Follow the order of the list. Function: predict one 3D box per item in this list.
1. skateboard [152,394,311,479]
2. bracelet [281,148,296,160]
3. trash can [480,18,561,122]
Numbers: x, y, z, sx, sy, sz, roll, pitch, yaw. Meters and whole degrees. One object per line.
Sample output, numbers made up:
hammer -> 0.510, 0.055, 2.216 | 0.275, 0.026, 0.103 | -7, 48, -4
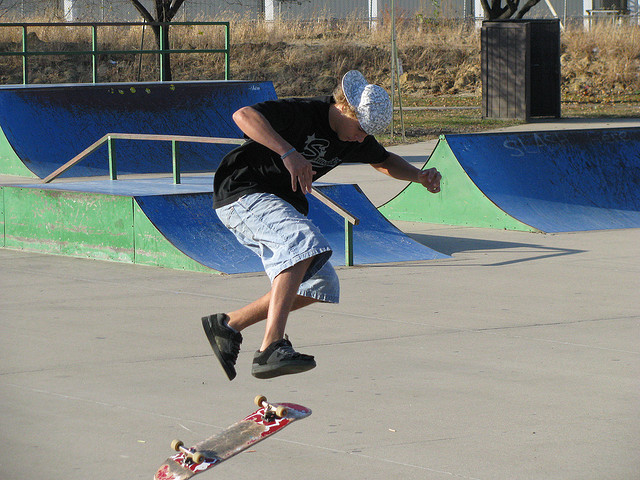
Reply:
skateboard -> -0.477, 1.060, 5.873 | 0.861, 0.318, 0.271 | -9, 16, -36
bracelet -> -0.171, -0.473, 6.027 | 0.058, 0.015, 0.056 | -28, 6, 25
trash can -> 4.302, -3.563, 22.860 | 1.265, 2.097, 1.727 | 10, 16, 36
